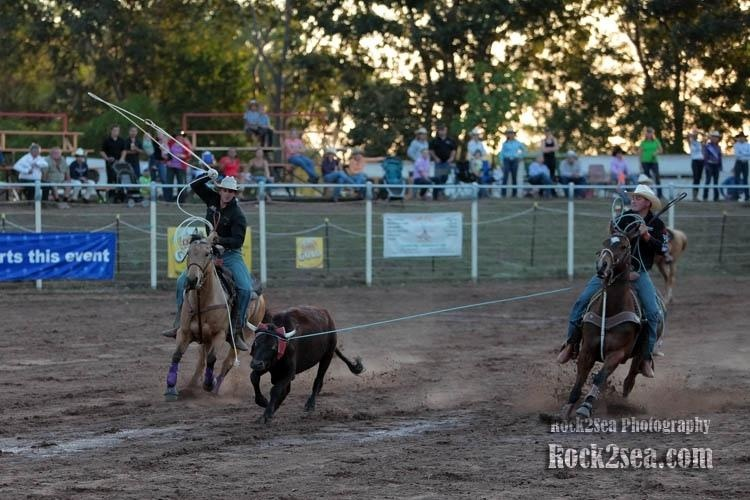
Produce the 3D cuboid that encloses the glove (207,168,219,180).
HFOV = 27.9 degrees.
[{"bbox_3d":[-4.633,-2.206,43.291,0.265,0.165,0.339,27,-28,3],"label":"glove"}]

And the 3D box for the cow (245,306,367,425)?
[{"bbox_3d":[-1.994,3.174,43.666,1.755,2.951,7.393,7,4,23],"label":"cow"}]

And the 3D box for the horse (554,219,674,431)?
[{"bbox_3d":[6.469,1.890,42.110,2.512,5.462,1.432,0,1,-8],"label":"horse"}]

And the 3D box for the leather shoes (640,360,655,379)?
[{"bbox_3d":[7.718,3.301,42.527,0.303,0.160,0.587,12,28,-4],"label":"leather shoes"}]

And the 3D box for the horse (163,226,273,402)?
[{"bbox_3d":[-4.716,1.812,43.405,1.593,4.583,2.669,0,1,34],"label":"horse"}]
